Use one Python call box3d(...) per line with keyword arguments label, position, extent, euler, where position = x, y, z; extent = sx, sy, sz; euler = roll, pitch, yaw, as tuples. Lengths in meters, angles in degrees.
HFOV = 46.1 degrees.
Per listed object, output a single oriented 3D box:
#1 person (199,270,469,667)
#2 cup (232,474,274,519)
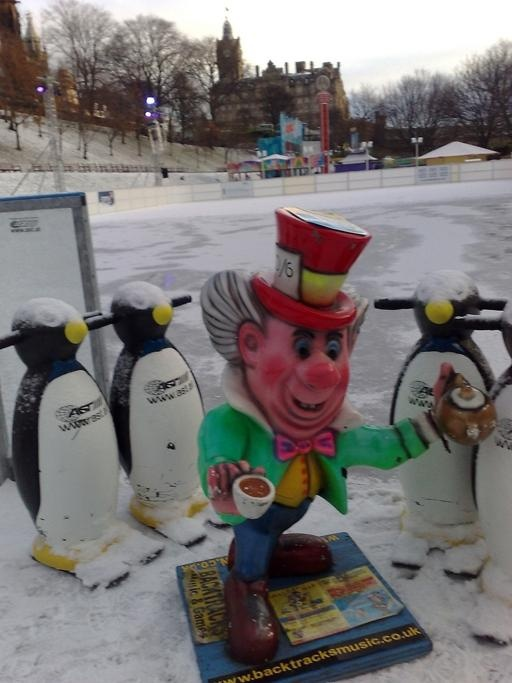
box3d(label="person", position=(0.135, 0.365, 1.986), extent=(0.741, 1.194, 0.545), euler=(-12, 19, -26))
box3d(label="cup", position=(-0.012, 0.428, 1.666), extent=(0.128, 0.077, 0.111), euler=(7, 23, -11))
